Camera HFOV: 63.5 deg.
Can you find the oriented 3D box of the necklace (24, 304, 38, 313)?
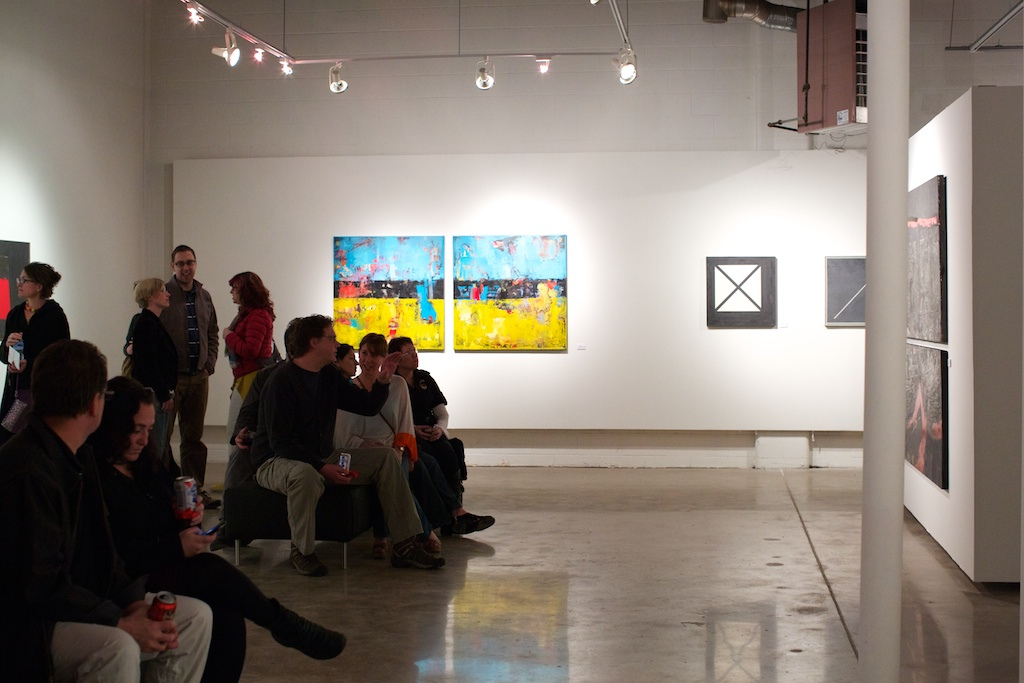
[{"bbox_3d":[-4.433,-0.286,7.525,0.096,0.078,0.095,3,-4,-16],"label":"necklace"}]

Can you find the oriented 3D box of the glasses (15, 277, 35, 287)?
[{"bbox_3d":[-4.525,-0.533,7.604,0.143,0.052,0.152,1,-5,27],"label":"glasses"}]

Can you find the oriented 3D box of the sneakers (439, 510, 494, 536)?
[{"bbox_3d":[-0.415,1.721,7.796,0.565,0.243,0.216,-10,-4,1],"label":"sneakers"}]

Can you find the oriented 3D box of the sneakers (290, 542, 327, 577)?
[{"bbox_3d":[-1.700,1.823,6.793,0.156,0.200,0.438,3,-7,-33],"label":"sneakers"}]

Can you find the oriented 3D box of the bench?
[{"bbox_3d":[-1.768,1.390,6.776,0.807,0.518,0.848,1,-5,7],"label":"bench"}]

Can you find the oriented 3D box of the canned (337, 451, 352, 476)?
[{"bbox_3d":[-1.346,0.994,6.681,0.135,0.244,0.138,5,-5,-10],"label":"canned"}]

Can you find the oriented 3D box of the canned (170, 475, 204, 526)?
[{"bbox_3d":[-1.953,0.951,4.830,0.145,0.255,0.144,-3,-8,-5],"label":"canned"}]

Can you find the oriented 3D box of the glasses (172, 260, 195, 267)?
[{"bbox_3d":[-3.350,-0.775,8.358,0.192,0.073,0.136,-4,8,-32],"label":"glasses"}]
